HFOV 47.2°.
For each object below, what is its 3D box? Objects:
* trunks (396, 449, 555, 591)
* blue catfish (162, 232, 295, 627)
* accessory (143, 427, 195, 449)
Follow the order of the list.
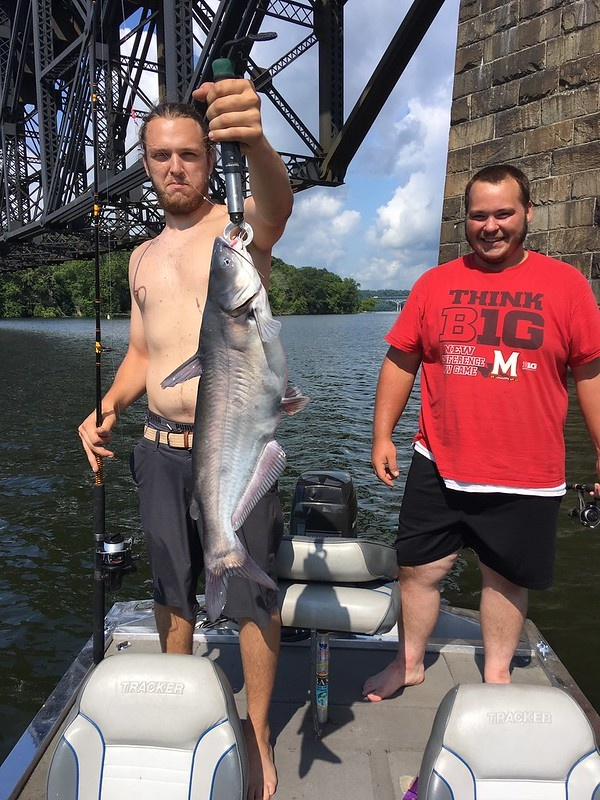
[{"bbox_3d":[0.682,0.432,2.709,0.570,0.496,0.323,5,2,24],"label":"trunks"},{"bbox_3d":[-0.160,0.080,1.689,0.292,0.937,0.323,-7,13,-29],"label":"blue catfish"},{"bbox_3d":[-0.438,0.127,2.322,0.114,0.032,0.115,4,5,-10],"label":"accessory"}]
